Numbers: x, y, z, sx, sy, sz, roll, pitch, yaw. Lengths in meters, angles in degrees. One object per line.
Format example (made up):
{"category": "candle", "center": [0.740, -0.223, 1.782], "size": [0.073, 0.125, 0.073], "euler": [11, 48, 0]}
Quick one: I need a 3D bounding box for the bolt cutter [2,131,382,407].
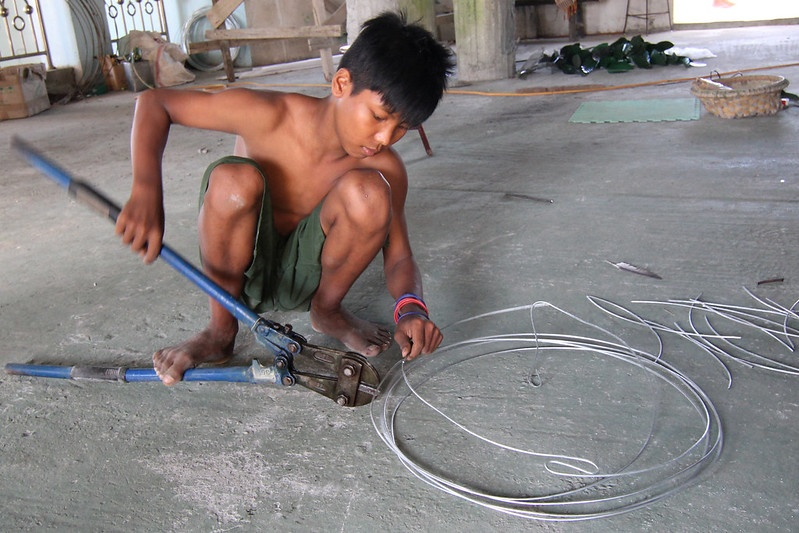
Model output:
{"category": "bolt cutter", "center": [-0.720, 0.172, 2.027], "size": [1.431, 0.613, 0.119], "euler": [13, -3, 25]}

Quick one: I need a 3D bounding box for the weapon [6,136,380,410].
{"category": "weapon", "center": [-0.690, 0.186, 2.050], "size": [1.439, 0.610, 0.119], "euler": [13, -4, 24]}

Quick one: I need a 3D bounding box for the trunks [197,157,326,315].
{"category": "trunks", "center": [-0.455, -0.113, 2.120], "size": [0.459, 0.498, 0.325], "euler": [7, 24, -15]}

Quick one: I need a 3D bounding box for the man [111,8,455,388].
{"category": "man", "center": [-0.323, -0.243, 2.125], "size": [1.102, 1.162, 0.919], "euler": [11, 14, 6]}

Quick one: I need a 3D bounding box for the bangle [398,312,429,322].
{"category": "bangle", "center": [0.048, 0.157, 1.989], "size": [0.053, 0.013, 0.052], "euler": [-13, -24, 27]}

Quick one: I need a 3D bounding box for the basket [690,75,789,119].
{"category": "basket", "center": [2.291, -1.149, 4.275], "size": [0.551, 0.242, 0.614], "euler": [10, 24, 34]}
